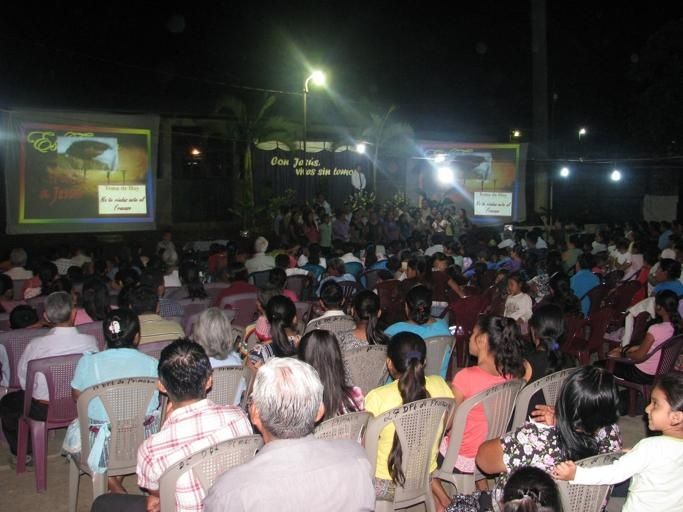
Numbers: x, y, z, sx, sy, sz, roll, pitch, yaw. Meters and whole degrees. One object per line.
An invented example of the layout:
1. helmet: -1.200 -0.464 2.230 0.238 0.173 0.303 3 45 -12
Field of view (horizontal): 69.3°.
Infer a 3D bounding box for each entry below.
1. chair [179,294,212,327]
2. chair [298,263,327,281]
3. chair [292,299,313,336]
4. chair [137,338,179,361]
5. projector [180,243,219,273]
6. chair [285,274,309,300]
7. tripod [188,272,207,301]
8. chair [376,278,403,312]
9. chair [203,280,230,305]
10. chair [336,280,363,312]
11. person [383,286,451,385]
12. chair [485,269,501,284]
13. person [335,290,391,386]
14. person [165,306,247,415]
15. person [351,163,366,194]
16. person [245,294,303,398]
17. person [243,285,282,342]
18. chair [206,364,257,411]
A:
1. chair: -1.878 0.671 6.448 0.279 0.565 0.357 -5 19 -32
2. chair: -0.517 0.305 8.878 0.307 0.446 0.324 0 34 -21
3. chair: -0.552 0.818 6.594 0.278 0.505 0.323 -5 13 -26
4. chair: -1.686 0.822 4.485 0.264 0.162 0.363 -3 -12 5
5. projector: -3.058 0.034 10.443 0.876 0.604 1.247 -1 3 -36
6. chair: -0.757 0.487 8.247 0.384 0.652 0.359 0 -1 40
7. tripod: -1.940 0.437 6.825 0.243 0.349 0.423 -2 22 -16
8. chair: 0.694 0.546 7.209 0.343 0.538 0.412 -3 9 -9
9. chair: -1.897 0.483 7.470 0.310 0.273 0.342 -2 23 -15
10. chair: 0.096 0.472 7.459 0.340 0.527 0.373 -4 22 -23
11. person: 0.853 0.821 5.197 0.722 1.105 0.560 -15 31 -7
12. chair: 2.499 0.319 8.172 0.146 0.208 0.201 33 -16 -7
13. person: 0.190 0.849 4.899 0.509 1.139 0.422 -6 32 -22
14. person: -1.052 0.784 4.239 0.539 1.072 0.722 -8 25 -25
15. person: 0.742 -3.421 21.814 0.601 1.149 0.710 -1 5 1
16. person: -0.704 1.072 4.561 0.445 1.207 0.367 16 22 28
17. person: -0.854 0.617 5.332 0.255 0.357 0.768 13 -27 -9
18. chair: -0.948 1.045 4.202 0.279 0.530 0.350 1 11 -25
